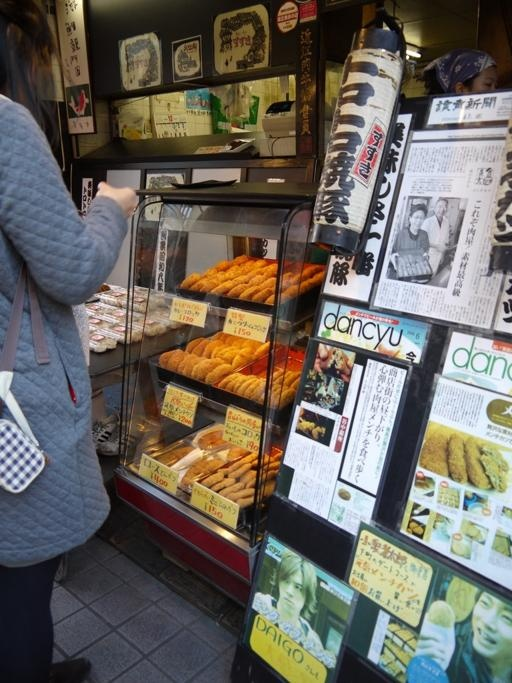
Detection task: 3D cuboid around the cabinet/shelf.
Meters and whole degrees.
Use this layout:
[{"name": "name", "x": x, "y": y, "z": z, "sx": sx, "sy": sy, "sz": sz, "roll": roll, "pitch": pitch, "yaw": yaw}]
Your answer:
[{"name": "cabinet/shelf", "x": -0.021, "y": 0.151, "z": 1.978, "sx": 0.867, "sy": 1.387, "sz": 0.768, "roll": 13, "pitch": 20, "yaw": 38}]
